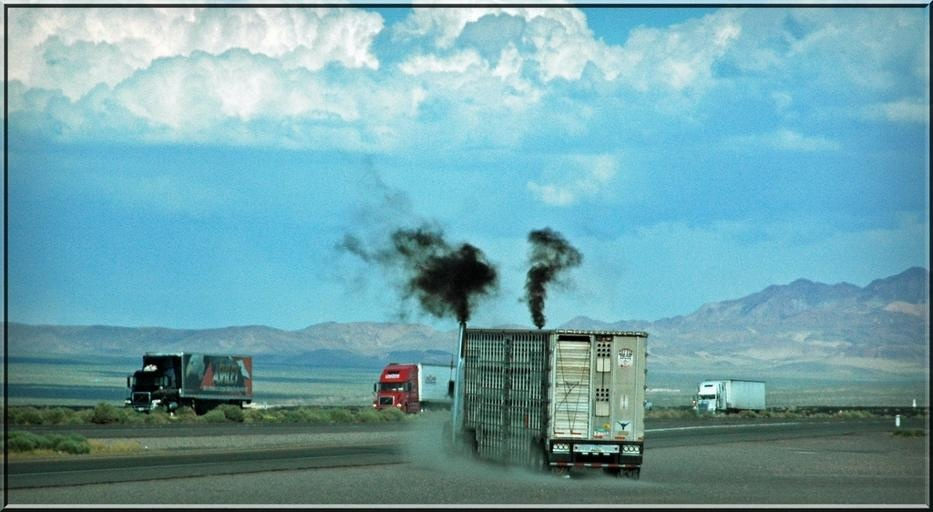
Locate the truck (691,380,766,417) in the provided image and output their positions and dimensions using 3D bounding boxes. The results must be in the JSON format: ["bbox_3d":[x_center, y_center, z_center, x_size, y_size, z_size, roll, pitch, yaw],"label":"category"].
[{"bbox_3d":[39.072,21.213,173.460,5.306,5.292,13.355,-5,-9,42],"label":"truck"}]
